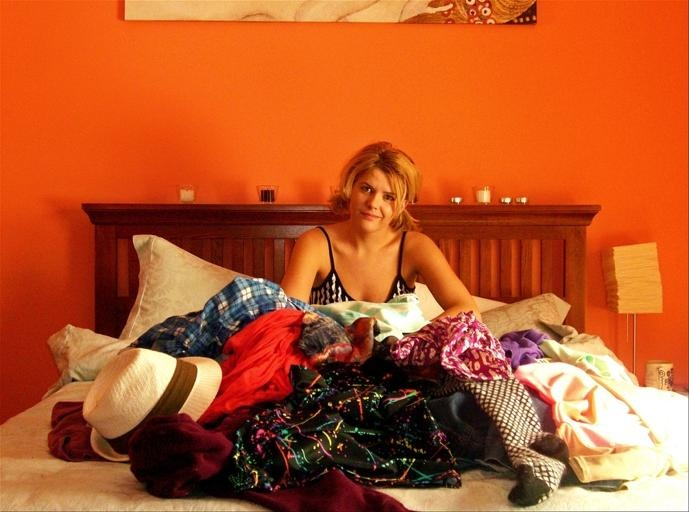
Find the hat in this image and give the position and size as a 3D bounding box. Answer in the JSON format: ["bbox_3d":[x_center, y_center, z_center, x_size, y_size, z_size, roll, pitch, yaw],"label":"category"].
[{"bbox_3d":[-0.523,0.371,1.555,0.357,0.294,0.132,0,-46,43],"label":"hat"}]

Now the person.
[{"bbox_3d":[0.121,-0.038,2.615,1.052,0.870,0.640,1,4,14],"label":"person"}]

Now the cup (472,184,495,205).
[{"bbox_3d":[0.711,-0.315,3.038,0.111,0.106,0.100,0,3,-1],"label":"cup"}]

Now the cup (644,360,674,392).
[{"bbox_3d":[1.505,0.562,2.840,0.118,0.123,0.165,0,-3,-5],"label":"cup"}]

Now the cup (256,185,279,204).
[{"bbox_3d":[-0.392,-0.314,3.050,0.106,0.082,0.100,0,2,0],"label":"cup"}]

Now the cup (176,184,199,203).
[{"bbox_3d":[-0.784,-0.314,2.988,0.092,0.080,0.084,2,1,5],"label":"cup"}]
